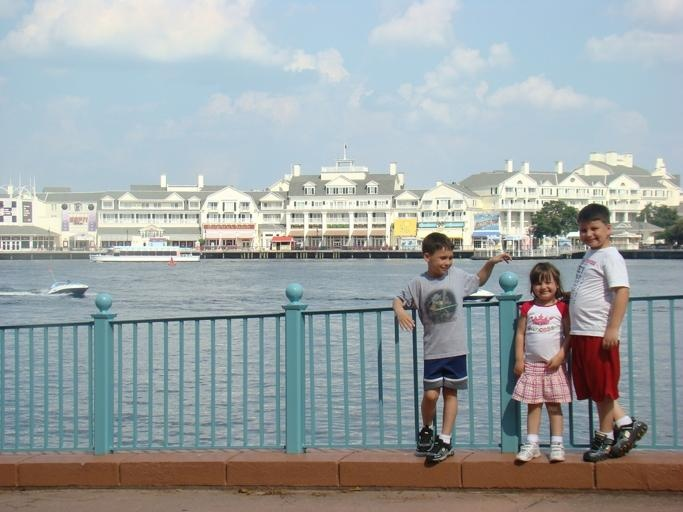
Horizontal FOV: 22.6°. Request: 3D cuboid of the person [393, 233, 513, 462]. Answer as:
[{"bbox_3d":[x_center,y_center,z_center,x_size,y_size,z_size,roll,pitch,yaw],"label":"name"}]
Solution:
[{"bbox_3d":[1.563,1.429,26.919,1.125,3.652,1.206,-7,-7,44],"label":"person"}]
